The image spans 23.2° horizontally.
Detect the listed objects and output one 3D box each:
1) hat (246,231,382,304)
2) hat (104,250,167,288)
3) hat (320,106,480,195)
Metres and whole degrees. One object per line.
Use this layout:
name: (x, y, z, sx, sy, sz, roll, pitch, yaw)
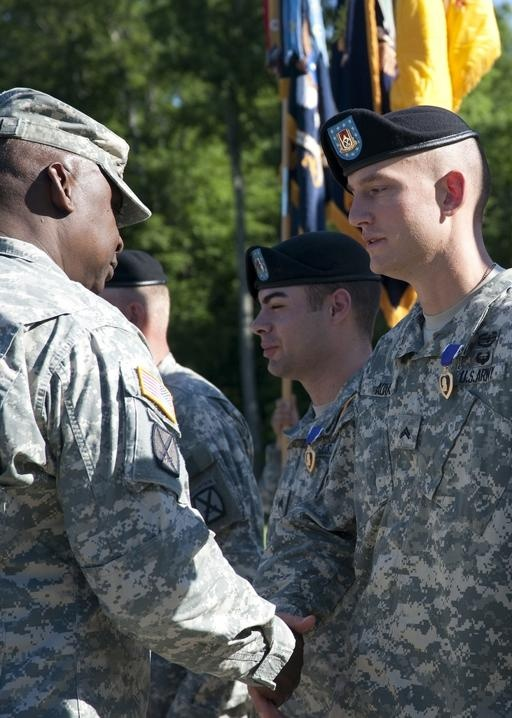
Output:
hat: (0.233, -0.386, 4.870, 0.531, 0.239, 0.390, -2, 0, -7)
hat: (-0.547, -0.401, 5.507, 0.179, 0.090, 0.239, 1, 0, -42)
hat: (0.442, -0.615, 3.567, 0.313, 0.104, 0.248, -10, -8, -29)
